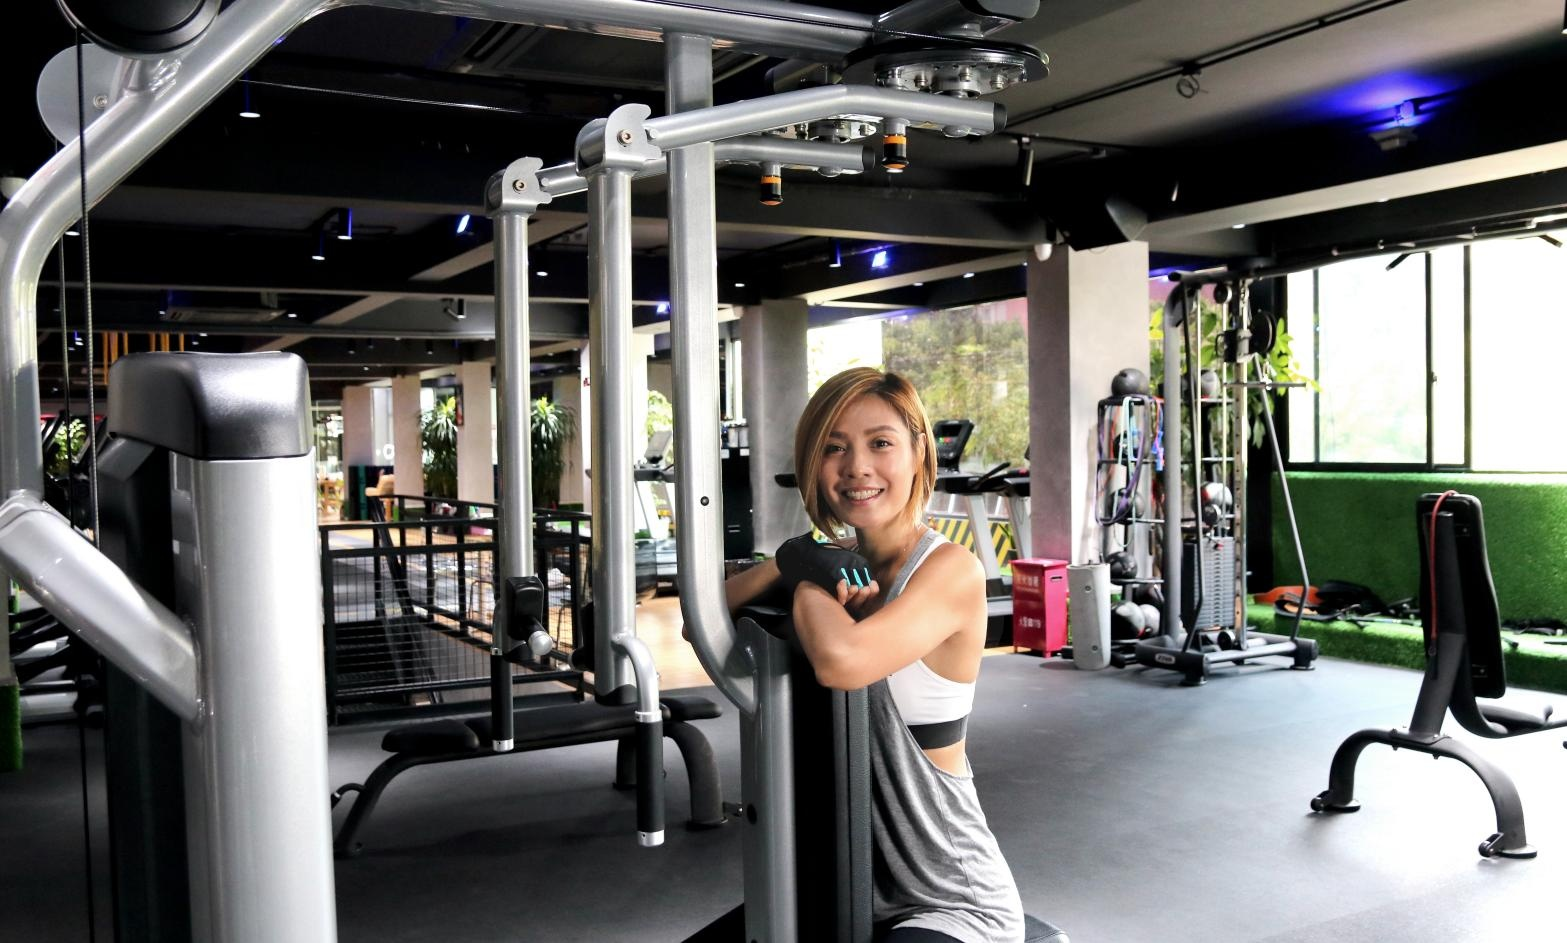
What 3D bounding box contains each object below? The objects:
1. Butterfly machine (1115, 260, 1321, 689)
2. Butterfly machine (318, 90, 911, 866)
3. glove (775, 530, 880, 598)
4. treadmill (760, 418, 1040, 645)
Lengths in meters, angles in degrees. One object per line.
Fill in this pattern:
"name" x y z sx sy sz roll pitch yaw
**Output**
"Butterfly machine" 3.612 -0.187 8.665 1.294 2.957 4.195 2 5 26
"Butterfly machine" -1.180 0.046 5.183 2.401 2.950 1.965 -5 6 -15
"glove" 0.075 0.187 2.243 0.164 0.071 0.124 20 21 41
"treadmill" 1.719 0.502 9.347 1.620 1.424 1.464 16 5 -14
